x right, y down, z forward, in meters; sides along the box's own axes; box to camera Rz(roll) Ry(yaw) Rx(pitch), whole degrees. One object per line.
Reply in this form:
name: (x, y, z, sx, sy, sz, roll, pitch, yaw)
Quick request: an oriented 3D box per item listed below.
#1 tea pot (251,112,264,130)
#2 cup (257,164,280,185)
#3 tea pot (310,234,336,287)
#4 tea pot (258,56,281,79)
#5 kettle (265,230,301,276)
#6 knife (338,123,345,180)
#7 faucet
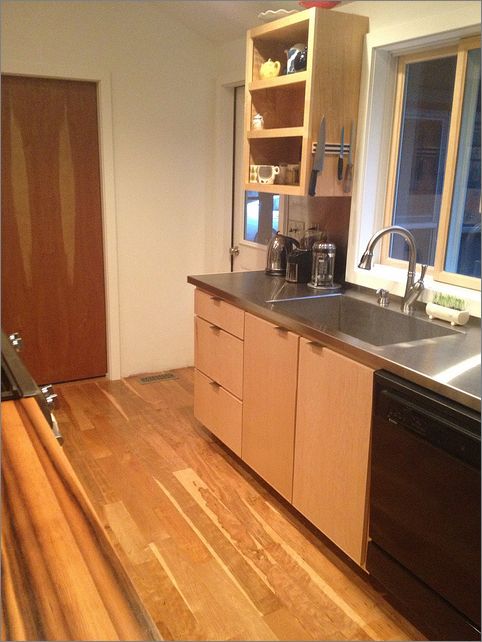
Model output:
tea pot: (0.090, -1.048, 2.443, 0.067, 0.120, 0.073, 9, 22, 25)
cup: (0.139, -0.769, 2.432, 0.081, 0.095, 0.120, 0, 24, -8)
tea pot: (0.418, -0.297, 2.378, 0.124, 0.238, 0.161, 3, 12, 10)
tea pot: (0.140, -1.258, 2.361, 0.122, 0.124, 0.097, 10, 20, 37)
kettle: (0.224, -0.403, 2.659, 0.134, 0.264, 0.135, 9, 19, 23)
knife: (0.471, -0.781, 2.169, 0.017, 0.237, 0.050, 8, 14, 35)
faucet: (0.607, -0.203, 1.859, 0.395, 0.342, 0.175, -8, 14, -33)
